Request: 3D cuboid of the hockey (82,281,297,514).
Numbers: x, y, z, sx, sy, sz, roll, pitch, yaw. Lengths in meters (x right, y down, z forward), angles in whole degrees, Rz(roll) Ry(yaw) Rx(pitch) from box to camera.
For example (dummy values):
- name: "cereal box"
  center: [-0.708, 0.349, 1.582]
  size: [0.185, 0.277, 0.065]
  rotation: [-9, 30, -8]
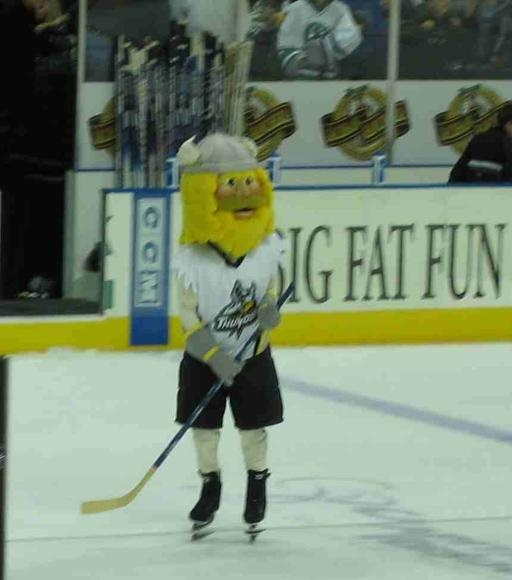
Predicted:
- name: "hockey"
  center: [-0.283, 0.464, 3.296]
  size: [0.166, 1.091, 0.048]
  rotation: [37, 7, -19]

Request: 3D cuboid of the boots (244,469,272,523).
- name: "boots"
  center: [0.006, 0.825, 3.422]
  size: [0.122, 0.173, 0.305]
  rotation: [-1, -5, 3]

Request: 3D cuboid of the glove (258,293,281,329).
- name: "glove"
  center: [0.053, 0.087, 3.397]
  size: [0.118, 0.116, 0.049]
  rotation: [8, -14, -4]
